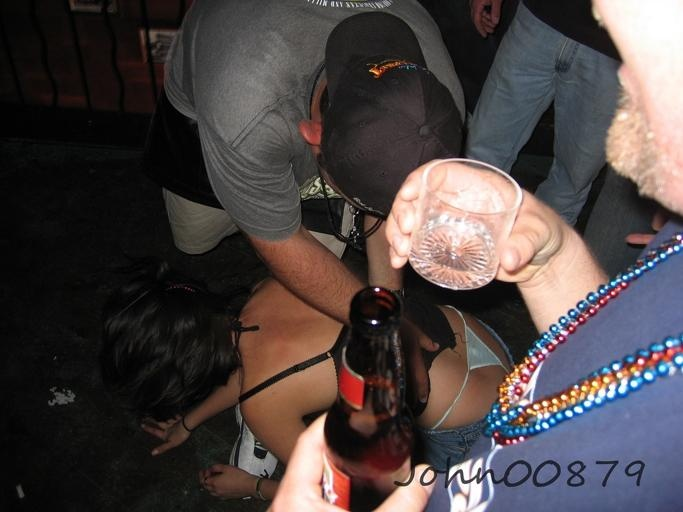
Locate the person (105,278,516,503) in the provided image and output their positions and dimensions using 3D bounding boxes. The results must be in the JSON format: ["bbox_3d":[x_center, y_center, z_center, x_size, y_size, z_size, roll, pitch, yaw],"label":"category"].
[{"bbox_3d":[-0.210,0.632,2.393,1.658,0.852,0.904,13,0,2],"label":"person"}]

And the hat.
[{"bbox_3d":[0.153,-0.459,1.744,0.444,0.704,0.347,-4,8,-15],"label":"hat"}]

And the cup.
[{"bbox_3d":[0.262,-0.086,1.366,0.296,0.331,0.306,2,52,-3],"label":"cup"}]
